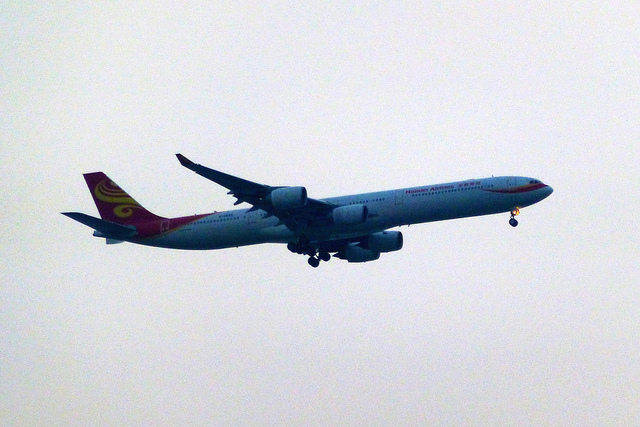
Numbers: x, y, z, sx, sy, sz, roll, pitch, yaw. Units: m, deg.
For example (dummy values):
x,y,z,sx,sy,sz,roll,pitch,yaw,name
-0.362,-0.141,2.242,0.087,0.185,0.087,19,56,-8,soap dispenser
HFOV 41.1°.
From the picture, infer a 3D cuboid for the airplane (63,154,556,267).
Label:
x,y,z,sx,sy,sz,roll,pitch,yaw,name
-0.330,0.145,45.573,23.038,7.522,6.134,0,-90,-3,airplane
